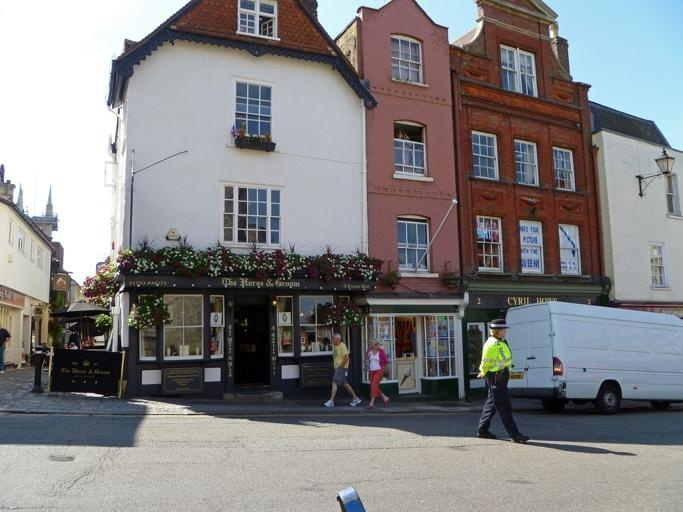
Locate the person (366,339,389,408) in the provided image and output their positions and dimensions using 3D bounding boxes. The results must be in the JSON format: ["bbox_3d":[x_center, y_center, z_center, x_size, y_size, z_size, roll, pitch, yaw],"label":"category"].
[{"bbox_3d":[1.051,3.504,21.392,0.556,1.995,0.791,0,-9,2],"label":"person"}]

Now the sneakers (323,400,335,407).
[{"bbox_3d":[-0.352,4.357,21.045,0.174,0.143,0.319,-1,-17,15],"label":"sneakers"}]

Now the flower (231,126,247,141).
[{"bbox_3d":[-3.269,-3.863,22.543,0.381,0.386,0.405,5,-6,-8],"label":"flower"}]

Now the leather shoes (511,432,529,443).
[{"bbox_3d":[3.731,3.829,15.103,0.420,0.220,0.146,-2,0,0],"label":"leather shoes"}]

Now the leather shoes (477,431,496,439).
[{"bbox_3d":[3.122,3.877,15.562,0.417,0.208,0.149,0,-5,-10],"label":"leather shoes"}]

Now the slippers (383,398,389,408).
[{"bbox_3d":[1.317,4.401,21.260,0.112,0.323,0.099,1,2,-19],"label":"slippers"}]
